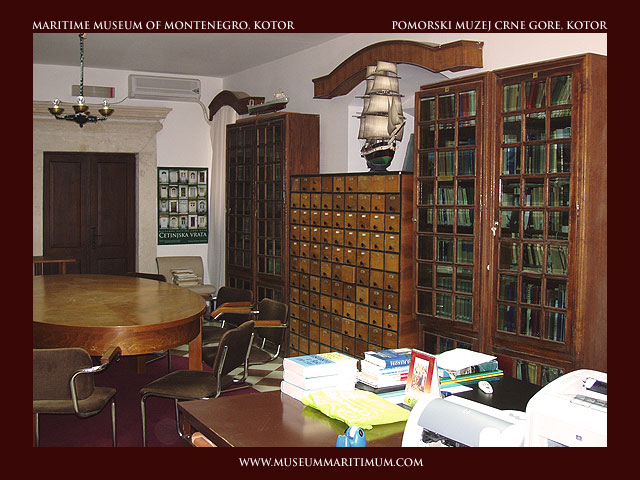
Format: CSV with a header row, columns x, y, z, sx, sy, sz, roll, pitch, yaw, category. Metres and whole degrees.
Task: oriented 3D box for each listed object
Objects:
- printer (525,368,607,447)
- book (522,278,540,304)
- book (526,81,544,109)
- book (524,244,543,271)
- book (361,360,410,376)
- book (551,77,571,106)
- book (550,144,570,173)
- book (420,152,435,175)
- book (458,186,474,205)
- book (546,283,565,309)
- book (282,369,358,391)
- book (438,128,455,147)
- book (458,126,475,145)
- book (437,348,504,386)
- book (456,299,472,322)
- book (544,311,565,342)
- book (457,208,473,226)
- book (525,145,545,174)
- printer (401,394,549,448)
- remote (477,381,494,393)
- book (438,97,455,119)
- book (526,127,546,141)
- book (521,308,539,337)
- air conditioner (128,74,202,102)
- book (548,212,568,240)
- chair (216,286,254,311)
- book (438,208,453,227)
x,y,z,sx,sy,sz,roll,pitch,yaw,category
0.914,0.609,1.772,0.248,0.228,0.251,3,10,41,printer
1.590,0.382,3.584,0.099,0.168,0.187,3,-2,7,book
1.589,-1.076,3.511,0.031,0.211,0.136,-2,5,-39,book
1.596,0.136,3.571,0.047,0.184,0.167,2,-2,-43,book
0.338,0.662,2.451,0.122,0.029,0.119,2,-1,-39,book
1.713,-1.063,3.384,0.033,0.201,0.135,-2,5,-34,book
1.712,-0.583,3.403,0.019,0.202,0.141,-3,5,-41,book
0.961,-0.682,4.252,0.073,0.198,0.212,1,-4,-28,book
1.211,-0.371,3.941,0.057,0.149,0.161,0,-4,-35,book
1.710,0.396,3.451,0.026,0.188,0.137,-3,5,-40,book
0.012,0.702,2.381,0.162,0.037,0.158,0,-2,-38,book
1.088,-0.879,4.079,0.086,0.168,0.180,2,-1,-32,book
1.211,-0.859,3.925,0.058,0.164,0.178,3,-1,-37,book
0.790,0.691,2.629,0.306,0.075,0.320,-3,6,-27,book
1.209,0.589,3.994,0.019,0.232,0.198,-3,3,-35,book
1.709,0.631,3.463,0.014,0.211,0.135,-3,5,-41,book
1.207,-0.190,3.952,0.136,0.131,0.077,-6,-9,44,book
1.593,-0.593,3.535,0.038,0.204,0.148,-1,5,-30,book
0.549,0.608,1.723,0.266,0.118,0.262,3,-3,-44,printer
0.858,0.759,2.478,0.044,0.018,0.060,-6,16,-10,remote
1.085,-1.126,4.078,0.023,0.223,0.197,-4,10,-39,book
1.600,-0.782,3.521,0.041,0.113,0.124,-1,-1,-44,book
1.586,0.622,3.598,0.020,0.205,0.139,-3,6,-44,book
-2.591,-2.551,7.985,1.169,0.442,0.253,-1,4,-24,air conditioner
1.721,-0.105,3.429,0.109,0.193,0.201,1,-1,-30,book
-0.929,0.607,5.129,0.278,0.338,0.282,2,-4,-20,chair
1.086,-0.198,4.106,0.091,0.154,0.165,-1,0,-37,book
